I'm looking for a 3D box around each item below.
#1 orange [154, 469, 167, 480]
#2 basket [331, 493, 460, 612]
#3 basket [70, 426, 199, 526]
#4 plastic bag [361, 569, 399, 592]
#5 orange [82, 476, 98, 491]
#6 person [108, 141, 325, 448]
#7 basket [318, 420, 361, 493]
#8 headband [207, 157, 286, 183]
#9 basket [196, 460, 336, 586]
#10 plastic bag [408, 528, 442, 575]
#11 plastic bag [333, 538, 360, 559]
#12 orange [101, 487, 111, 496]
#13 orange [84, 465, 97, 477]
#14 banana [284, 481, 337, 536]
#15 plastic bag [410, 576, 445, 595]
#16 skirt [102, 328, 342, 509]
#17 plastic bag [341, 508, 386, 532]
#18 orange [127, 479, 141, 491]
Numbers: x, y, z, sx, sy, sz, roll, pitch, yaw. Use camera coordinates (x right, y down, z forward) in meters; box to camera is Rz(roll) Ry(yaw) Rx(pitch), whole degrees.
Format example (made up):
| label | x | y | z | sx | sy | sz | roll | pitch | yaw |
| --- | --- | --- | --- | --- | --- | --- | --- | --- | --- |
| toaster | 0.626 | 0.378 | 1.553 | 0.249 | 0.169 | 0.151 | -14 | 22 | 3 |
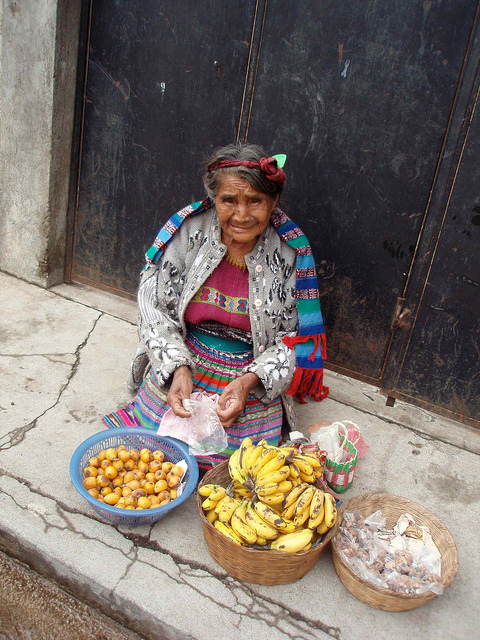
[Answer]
| label | x | y | z | sx | sy | sz | roll | pitch | yaw |
| --- | --- | --- | --- | --- | --- | --- | --- | --- | --- |
| orange | -0.326 | 0.624 | 1.984 | 0.030 | 0.034 | 0.033 | 3 | 7 | 9 |
| basket | 0.554 | 0.779 | 1.722 | 0.362 | 0.144 | 0.352 | -19 | 39 | -34 |
| basket | -0.419 | 0.617 | 1.895 | 0.466 | 0.251 | 0.536 | 7 | 20 | -19 |
| plastic bag | 0.464 | 0.852 | 1.622 | 0.122 | 0.027 | 0.056 | 23 | 21 | 22 |
| orange | -0.569 | 0.617 | 1.862 | 0.045 | 0.029 | 0.037 | 3 | -6 | 43 |
| person | -0.057 | -0.055 | 2.241 | 0.893 | 1.410 | 0.861 | -7 | 43 | -15 |
| basket | 0.431 | 0.603 | 2.133 | 0.202 | 0.236 | 0.309 | 2 | 27 | 4 |
| headband | 0.024 | -0.587 | 1.877 | 0.304 | 0.112 | 0.164 | 14 | 19 | -2 |
| basket | 0.089 | 0.691 | 1.648 | 0.317 | 0.241 | 0.629 | -7 | 26 | -19 |
| plastic bag | 0.658 | 0.826 | 1.742 | 0.100 | 0.032 | 0.084 | -31 | 29 | -18 |
| plastic bag | 0.366 | 0.792 | 1.701 | 0.064 | 0.028 | 0.078 | 10 | 12 | -1 |
| orange | -0.511 | 0.651 | 1.874 | 0.041 | 0.022 | 0.034 | -2 | 24 | -39 |
| orange | -0.580 | 0.581 | 1.900 | 0.033 | 0.038 | 0.033 | 3 | -1 | 2 |
| banana | 0.237 | 0.614 | 1.619 | 0.133 | 0.068 | 0.185 | 30 | 34 | -1 |
| plastic bag | 0.596 | 0.856 | 1.583 | 0.083 | 0.019 | 0.056 | -12 | 8 | 45 |
| skirt | -0.158 | 0.385 | 2.507 | 0.885 | 0.780 | 0.745 | 8 | 27 | 6 |
| plastic bag | 0.469 | 0.755 | 1.846 | 0.134 | 0.098 | 0.044 | 7 | -8 | -19 |
| orange | -0.420 | 0.650 | 1.941 | 0.052 | 0.021 | 0.053 | 9 | 20 | -15 |
